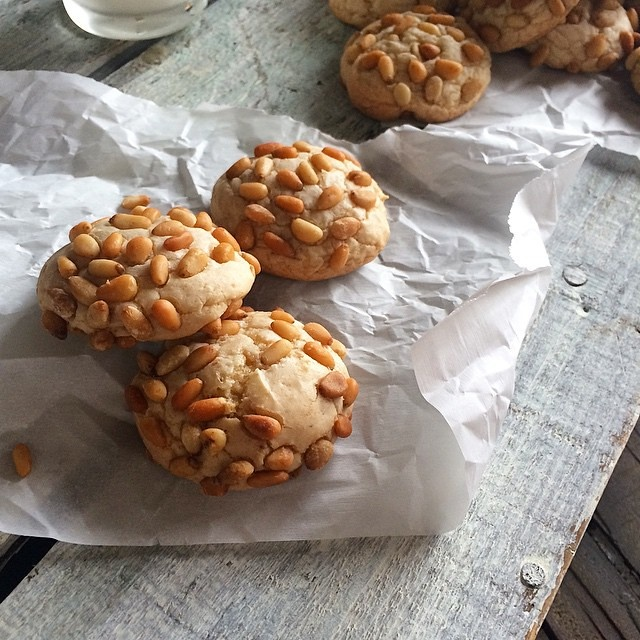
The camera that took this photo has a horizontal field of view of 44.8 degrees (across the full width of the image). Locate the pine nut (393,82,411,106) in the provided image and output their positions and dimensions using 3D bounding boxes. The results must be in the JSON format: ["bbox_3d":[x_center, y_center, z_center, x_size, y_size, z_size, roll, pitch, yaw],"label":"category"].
[{"bbox_3d":[0.152,-0.420,1.447,0.039,0.031,0.034,3,67,3],"label":"pine nut"}]

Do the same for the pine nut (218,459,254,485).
[{"bbox_3d":[-0.115,0.208,1.057,0.049,0.016,0.029,-22,91,3],"label":"pine nut"}]

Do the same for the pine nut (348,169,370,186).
[{"bbox_3d":[0.064,-0.232,1.275,0.038,0.017,0.022,13,46,-13],"label":"pine nut"}]

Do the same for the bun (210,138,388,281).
[{"bbox_3d":[-0.024,-0.179,1.246,0.289,0.094,0.250,2,35,-7],"label":"bun"}]

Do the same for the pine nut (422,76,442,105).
[{"bbox_3d":[0.209,-0.427,1.444,0.041,0.010,0.037,5,98,5],"label":"pine nut"}]

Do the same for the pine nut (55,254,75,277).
[{"bbox_3d":[-0.360,-0.076,1.100,0.020,0.014,0.036,-25,47,-32],"label":"pine nut"}]

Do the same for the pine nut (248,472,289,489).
[{"bbox_3d":[-0.072,0.224,1.082,0.058,0.040,0.016,-6,62,-1],"label":"pine nut"}]

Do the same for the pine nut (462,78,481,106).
[{"bbox_3d":[0.285,-0.433,1.475,0.054,0.016,0.037,-8,104,-8],"label":"pine nut"}]

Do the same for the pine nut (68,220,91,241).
[{"bbox_3d":[-0.349,-0.130,1.126,0.022,0.046,0.016,12,75,-42],"label":"pine nut"}]

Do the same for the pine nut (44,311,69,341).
[{"bbox_3d":[-0.382,0.008,1.129,0.037,0.011,0.039,-20,86,-5],"label":"pine nut"}]

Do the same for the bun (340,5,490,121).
[{"bbox_3d":[0.183,-0.475,1.516,0.298,0.077,0.226,3,48,3],"label":"bun"}]

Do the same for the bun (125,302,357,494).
[{"bbox_3d":[-0.109,0.117,1.088,0.348,0.091,0.268,1,36,-3],"label":"bun"}]

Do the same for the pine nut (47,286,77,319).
[{"bbox_3d":[-0.364,-0.024,1.098,0.050,0.012,0.035,46,105,5],"label":"pine nut"}]
